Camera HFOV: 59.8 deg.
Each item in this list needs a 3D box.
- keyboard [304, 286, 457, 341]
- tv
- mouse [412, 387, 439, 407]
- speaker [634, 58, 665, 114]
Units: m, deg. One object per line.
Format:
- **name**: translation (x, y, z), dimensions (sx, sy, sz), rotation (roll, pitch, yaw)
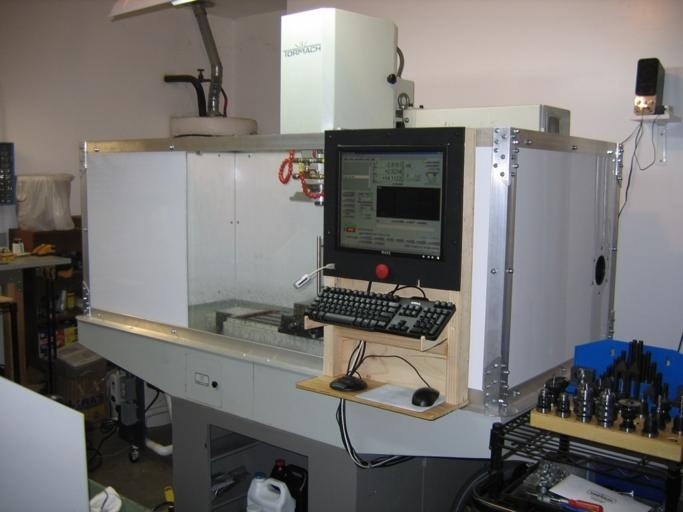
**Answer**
- **keyboard**: translation (0.126, 0.199, 2.084), dimensions (0.527, 0.122, 0.172), rotation (3, 8, 23)
- **tv**: translation (0.196, -0.175, 2.075), dimensions (0.551, 0.546, 0.058), rotation (4, 9, 28)
- **mouse**: translation (0.287, 0.488, 2.059), dimensions (0.082, 0.044, 0.117), rotation (2, 7, 20)
- **speaker**: translation (1.758, -0.952, 3.374), dimensions (0.154, 0.313, 0.222), rotation (3, 8, 27)
